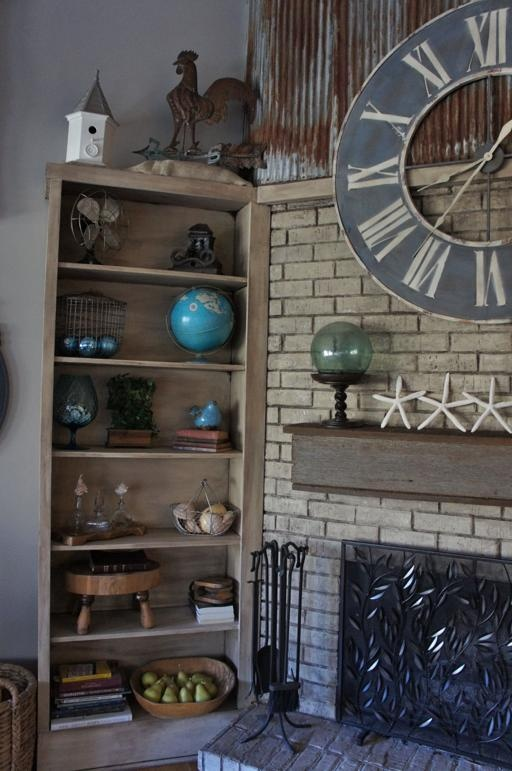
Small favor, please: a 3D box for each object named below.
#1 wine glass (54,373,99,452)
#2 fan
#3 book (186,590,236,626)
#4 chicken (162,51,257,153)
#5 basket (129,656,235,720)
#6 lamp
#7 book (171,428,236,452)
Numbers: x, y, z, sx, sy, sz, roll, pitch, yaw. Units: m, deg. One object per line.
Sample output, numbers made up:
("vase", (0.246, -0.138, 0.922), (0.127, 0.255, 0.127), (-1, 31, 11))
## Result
("wine glass", (-0.677, 0.105, 2.865), (0.180, 0.273, 0.173), (8, 10, 25))
("fan", (-0.599, -0.601, 2.952), (0.194, 0.301, 0.171), (-1, 9, -32))
("book", (-0.164, 0.862, 2.925), (0.175, 0.083, 0.139), (-2, -1, -2))
("chicken", (-0.172, -1.094, 3.031), (0.352, 0.399, 0.164), (-2, -2, -6))
("basket", (-0.271, 1.143, 2.900), (0.404, 0.113, 0.359), (-5, 10, -14))
("lamp", (0.316, -0.033, 2.652), (0.188, 0.354, 0.256), (-3, -2, 31))
("book", (-0.206, 0.217, 2.987), (0.207, 0.087, 0.193), (-2, -1, 3))
